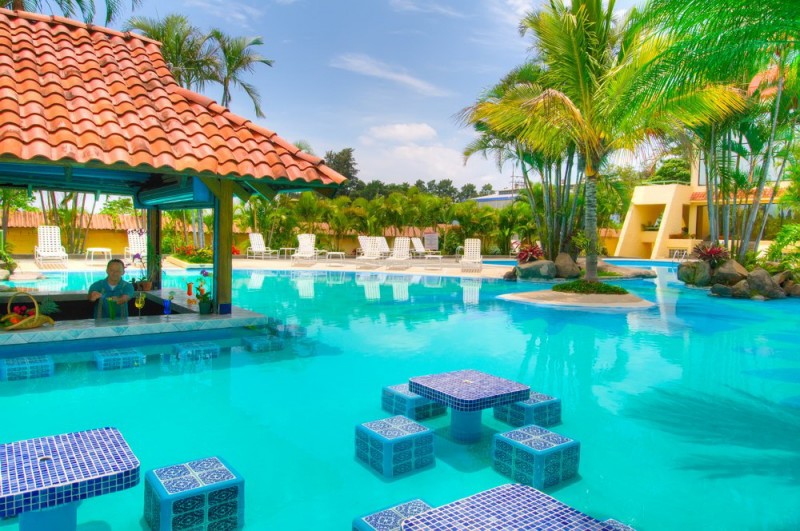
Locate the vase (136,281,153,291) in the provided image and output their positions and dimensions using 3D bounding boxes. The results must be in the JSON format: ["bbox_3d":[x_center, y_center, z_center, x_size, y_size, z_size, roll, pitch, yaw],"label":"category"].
[{"bbox_3d":[-6.492,0.510,14.130,0.404,0.246,0.376,-4,9,-25],"label":"vase"}]

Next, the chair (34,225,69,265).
[{"bbox_3d":[-16.389,-1.022,26.611,1.465,1.854,2.716,0,10,-32],"label":"chair"}]

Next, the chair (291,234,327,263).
[{"bbox_3d":[-5.420,-0.874,32.528,1.898,1.789,1.916,0,6,-3],"label":"chair"}]

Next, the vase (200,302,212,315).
[{"bbox_3d":[-3.893,0.863,11.149,0.245,0.188,0.226,2,0,5],"label":"vase"}]

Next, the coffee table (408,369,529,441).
[{"bbox_3d":[1.002,1.859,7.555,1.070,0.627,1.069,-2,6,-29],"label":"coffee table"}]

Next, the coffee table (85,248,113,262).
[{"bbox_3d":[-16.831,-0.618,30.998,1.182,0.733,1.177,-1,2,-38],"label":"coffee table"}]
